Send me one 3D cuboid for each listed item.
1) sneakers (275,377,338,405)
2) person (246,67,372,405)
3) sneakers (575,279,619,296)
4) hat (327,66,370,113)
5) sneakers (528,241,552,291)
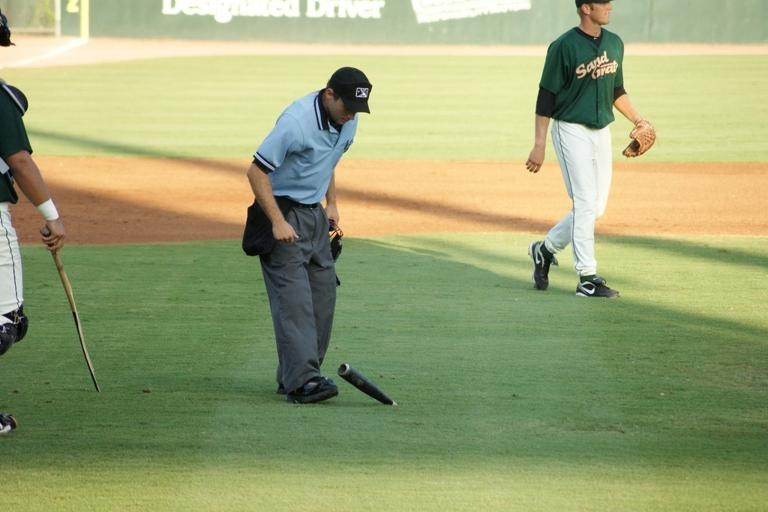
[{"bbox_3d":[-0.507,0.969,8.152,0.477,0.158,0.154,-4,10,8],"label":"sneakers"},{"bbox_3d":[-0.576,-0.154,8.170,0.844,2.361,0.857,2,19,-6],"label":"person"},{"bbox_3d":[1.939,0.293,10.399,0.373,0.106,0.149,2,8,5],"label":"sneakers"},{"bbox_3d":[-0.243,-1.176,8.114,0.305,0.319,0.215,3,18,-2],"label":"hat"},{"bbox_3d":[1.396,0.099,10.683,0.199,0.438,0.258,-7,10,-20],"label":"sneakers"}]
